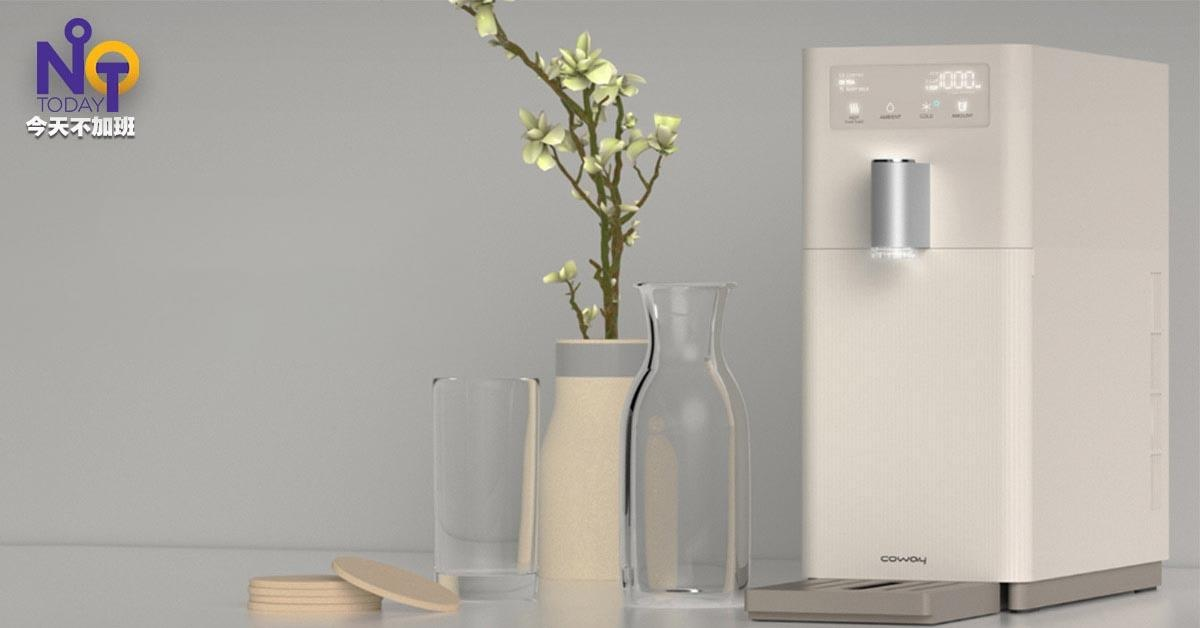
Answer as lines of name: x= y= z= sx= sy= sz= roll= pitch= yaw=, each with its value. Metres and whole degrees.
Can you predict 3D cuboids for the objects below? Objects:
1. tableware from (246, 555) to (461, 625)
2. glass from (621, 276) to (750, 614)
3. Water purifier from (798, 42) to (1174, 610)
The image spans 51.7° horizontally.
tableware: x=-0.428 y=0.466 z=2.119 sx=0.356 sy=0.092 sz=0.181 roll=2 pitch=10 yaw=28
glass: x=0.154 y=0.228 z=2.227 sx=0.255 sy=0.536 sz=0.241 roll=4 pitch=-6 yaw=-20
Water purifier: x=0.682 y=0.015 z=2.162 sx=0.675 sy=0.965 sz=0.303 roll=-2 pitch=11 yaw=4
